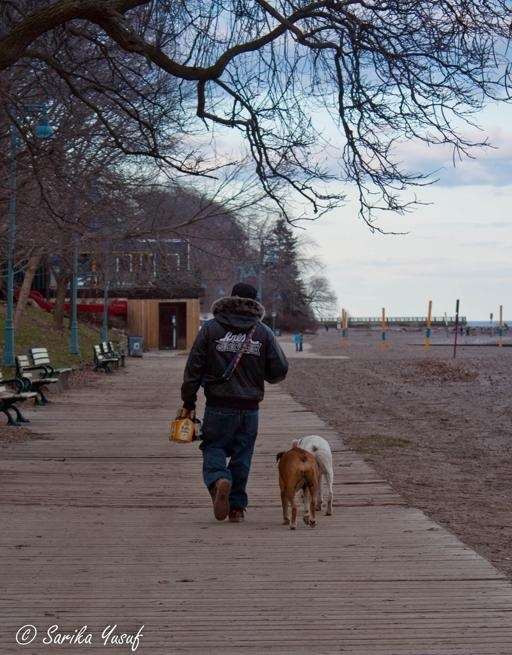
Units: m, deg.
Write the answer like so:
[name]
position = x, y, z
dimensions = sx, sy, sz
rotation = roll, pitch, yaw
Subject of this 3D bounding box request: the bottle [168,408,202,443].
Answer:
[bottle]
position = -0.547, 0.748, 7.217
dimensions = 0.157, 0.202, 0.463
rotation = 4, 7, -3

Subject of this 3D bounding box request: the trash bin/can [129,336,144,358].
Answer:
[trash bin/can]
position = -5.345, 0.871, 41.182
dimensions = 0.869, 1.217, 0.840
rotation = -1, 1, -6

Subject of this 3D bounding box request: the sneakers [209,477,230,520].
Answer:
[sneakers]
position = -0.245, 1.255, 6.756
dimensions = 0.127, 0.325, 0.143
rotation = -4, 5, -24

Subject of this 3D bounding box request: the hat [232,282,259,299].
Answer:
[hat]
position = -0.099, -0.285, 7.301
dimensions = 0.130, 0.150, 0.171
rotation = 4, 13, 2

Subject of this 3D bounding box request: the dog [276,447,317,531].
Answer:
[dog]
position = 0.309, 1.197, 6.904
dimensions = 0.292, 0.601, 0.435
rotation = 1, 2, 1

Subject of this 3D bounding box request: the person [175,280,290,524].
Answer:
[person]
position = -0.184, 0.580, 7.104
dimensions = 0.607, 1.834, 0.812
rotation = 3, 3, 42
